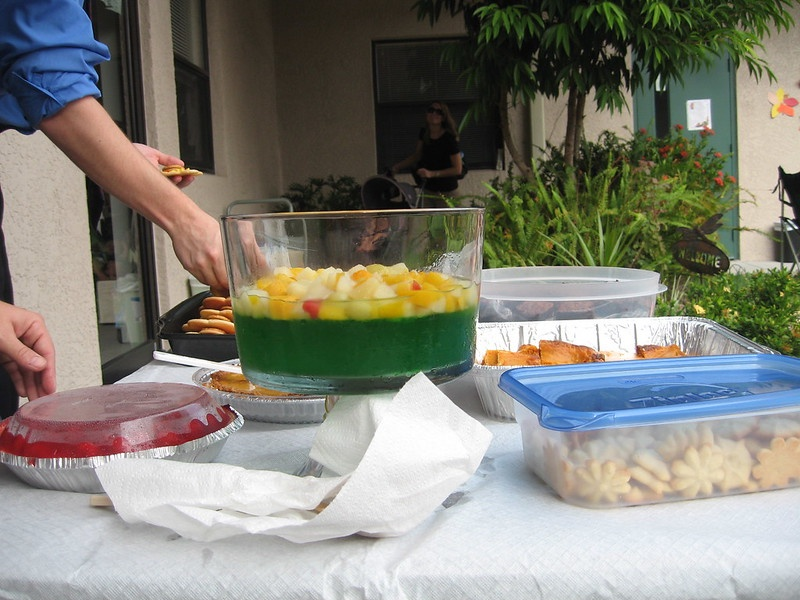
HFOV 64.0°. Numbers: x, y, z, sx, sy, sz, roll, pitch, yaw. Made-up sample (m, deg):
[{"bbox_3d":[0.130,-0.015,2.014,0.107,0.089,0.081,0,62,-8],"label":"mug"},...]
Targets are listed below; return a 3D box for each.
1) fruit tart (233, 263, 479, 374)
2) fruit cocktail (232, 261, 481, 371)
[{"bbox_3d":[-0.067,0.016,0.871,0.250,0.144,0.221,-1,4,-32],"label":"fruit tart"},{"bbox_3d":[-0.074,0.014,0.883,0.247,0.143,0.219,-1,4,-32],"label":"fruit cocktail"}]
